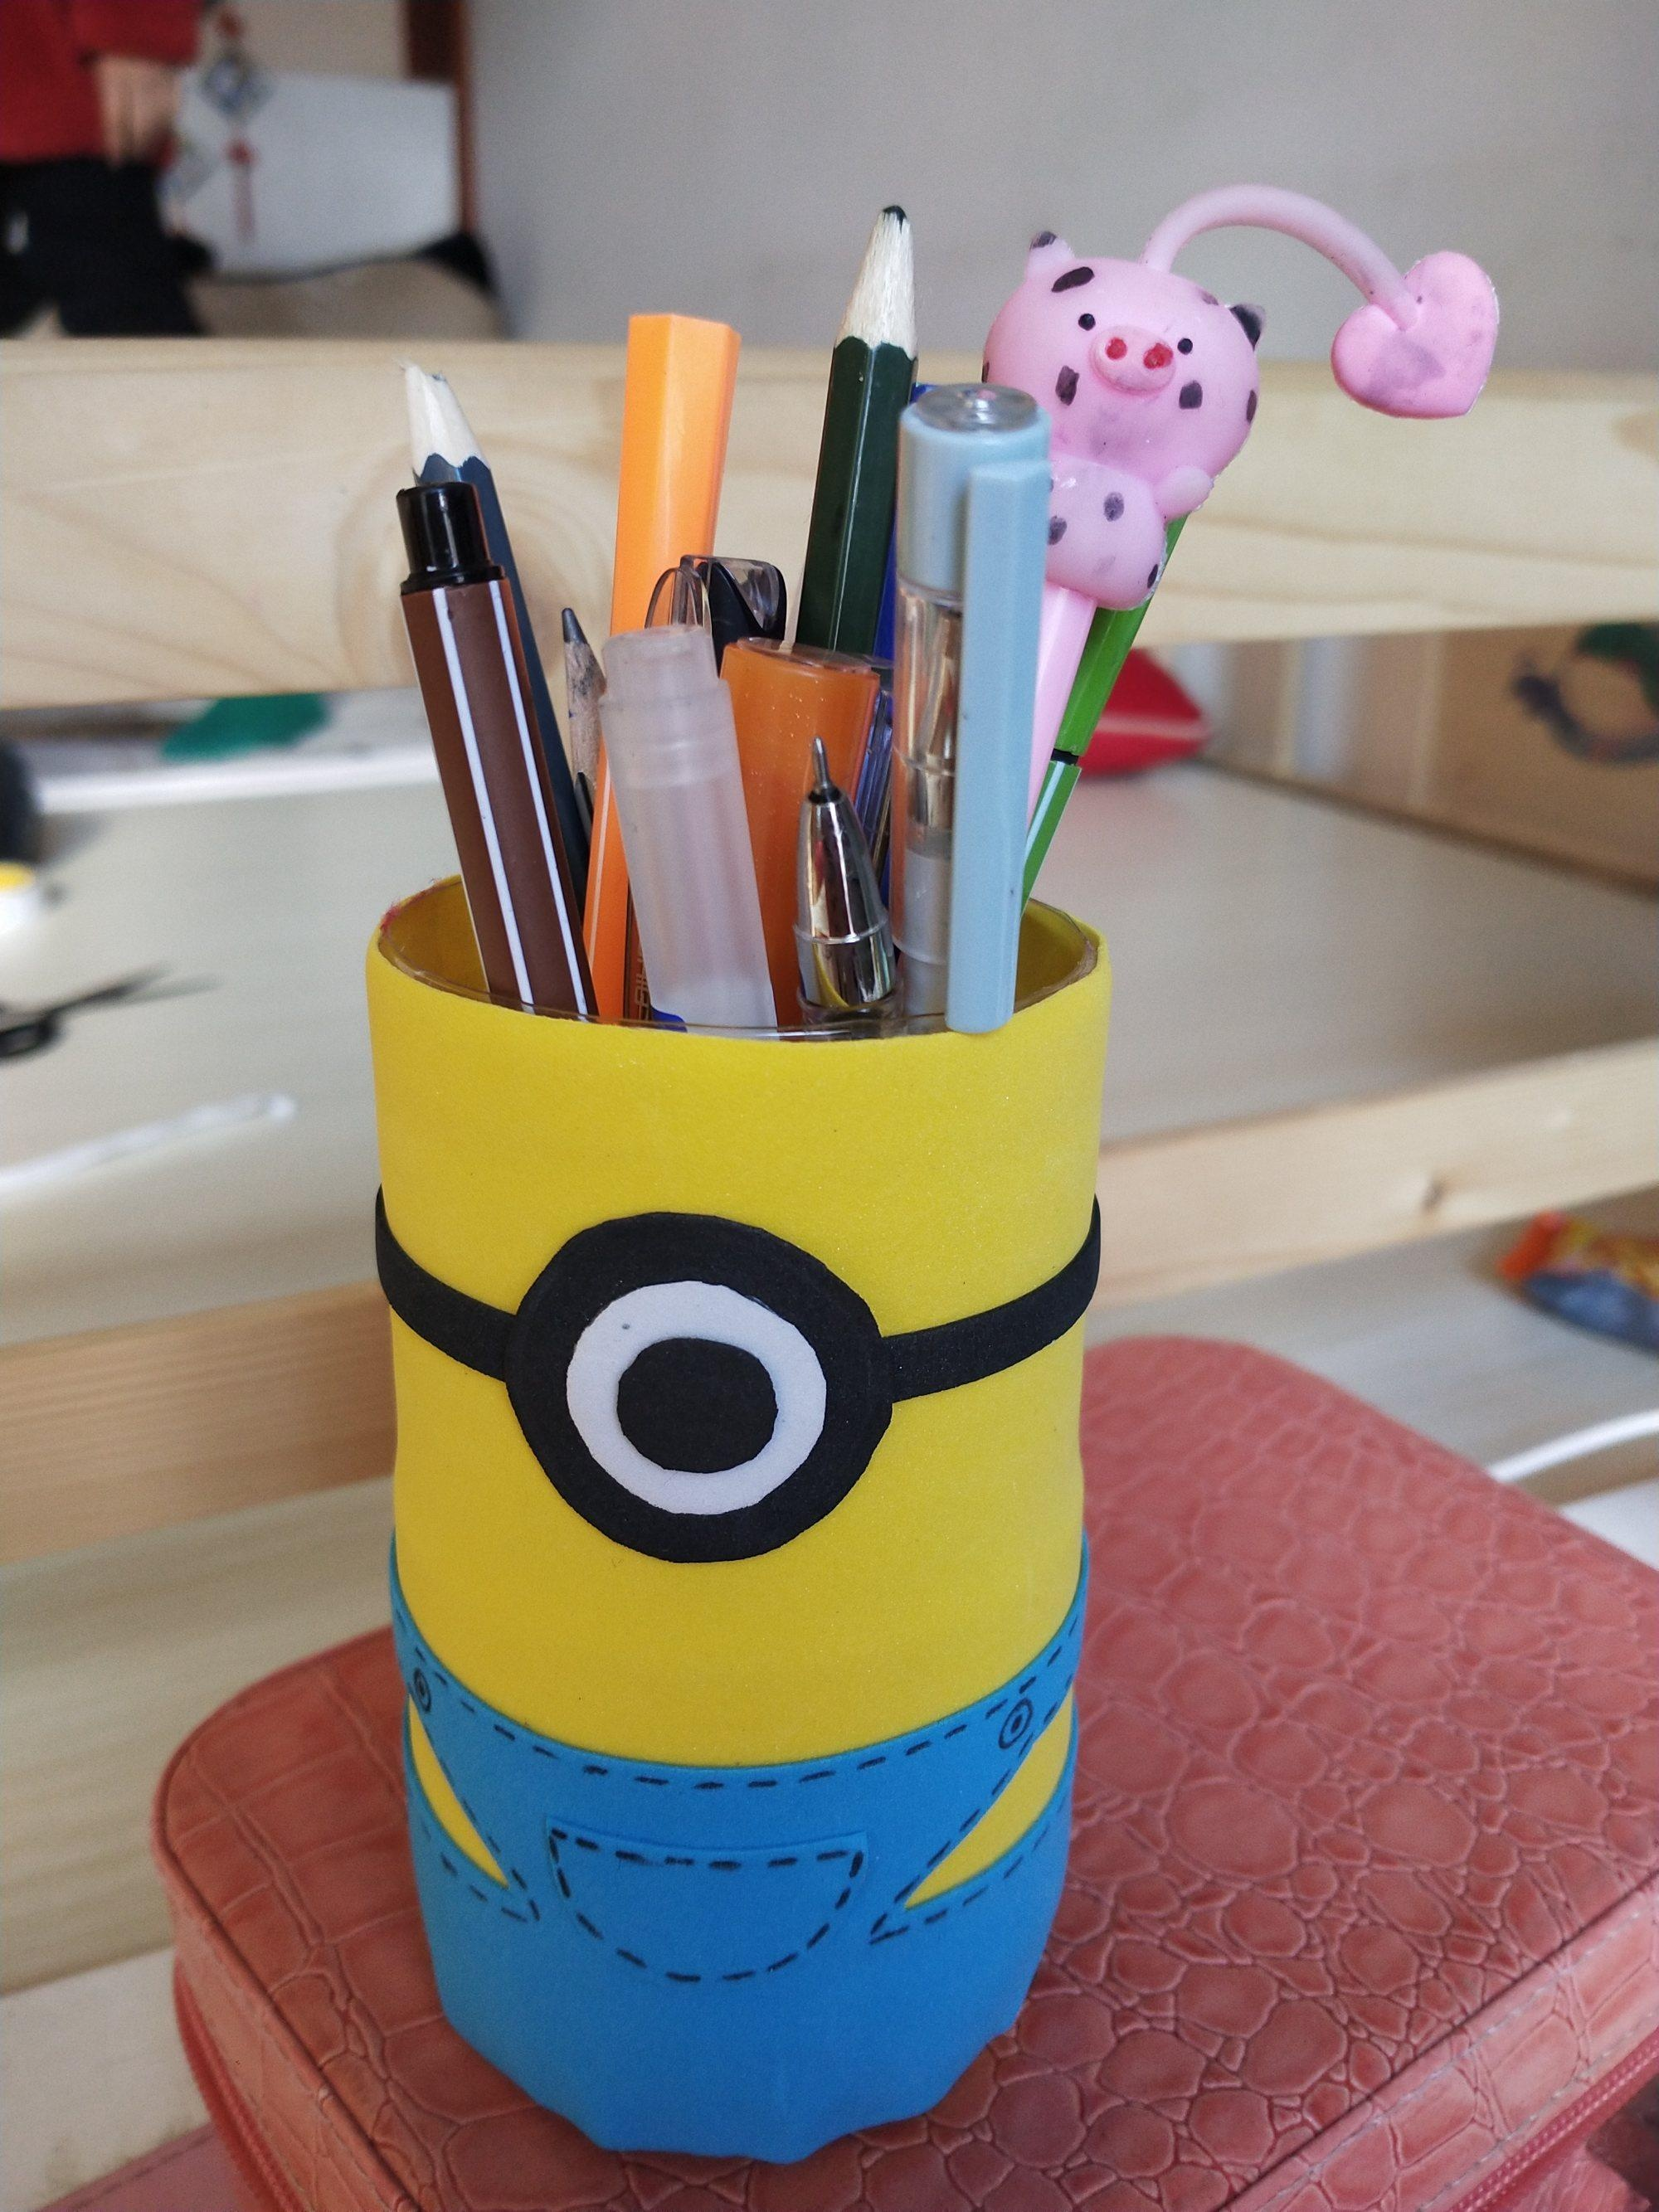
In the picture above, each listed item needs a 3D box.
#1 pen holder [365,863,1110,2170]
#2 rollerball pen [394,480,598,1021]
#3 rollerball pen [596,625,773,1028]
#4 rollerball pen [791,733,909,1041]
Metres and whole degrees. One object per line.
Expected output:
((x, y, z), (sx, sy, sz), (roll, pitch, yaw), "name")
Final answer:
((-0.017, 0.077, 0.389), (0.112, 0.201, 0.069), (1, 25, 3), "pen holder")
((-0.050, -0.054, 0.364), (0.023, 0.084, 0.025), (-17, 31, -33), "rollerball pen")
((-0.021, -0.036, 0.359), (0.023, 0.071, 0.020), (-7, 13, 5), "rollerball pen")
((0.001, -0.034, 0.350), (0.018, 0.039, 0.016), (-17, 29, -12), "rollerball pen")
